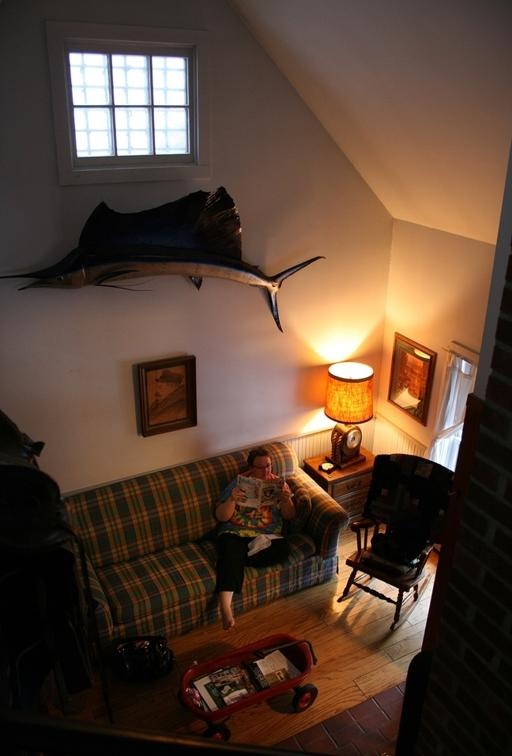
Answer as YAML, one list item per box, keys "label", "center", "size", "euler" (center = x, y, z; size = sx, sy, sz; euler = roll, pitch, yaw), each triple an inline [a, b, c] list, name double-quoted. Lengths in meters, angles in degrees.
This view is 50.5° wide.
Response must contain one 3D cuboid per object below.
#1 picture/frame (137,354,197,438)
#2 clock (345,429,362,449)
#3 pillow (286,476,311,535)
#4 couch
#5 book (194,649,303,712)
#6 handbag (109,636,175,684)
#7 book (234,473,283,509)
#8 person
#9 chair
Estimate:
- label: "picture/frame"
  center: [-0.686, 0.111, 4.082]
  size: [0.510, 0.675, 0.112]
  euler: [-12, 23, -34]
- label: "clock"
  center: [0.849, 0.537, 4.790]
  size: [0.076, 0.226, 0.163]
  euler: [16, 17, 41]
- label: "pillow"
  center: [0.344, 1.044, 4.341]
  size: [0.113, 0.309, 0.304]
  euler: [7, -15, -6]
- label: "couch"
  center: [-0.418, 1.250, 4.151]
  size: [2.023, 0.931, 0.851]
  euler: [-10, 19, -25]
- label: "book"
  center: [-0.078, 1.828, 3.285]
  size: [0.503, 0.100, 0.242]
  euler: [-11, 25, -23]
- label: "handbag"
  center: [-0.725, 1.808, 3.485]
  size: [0.286, 0.109, 0.291]
  euler: [2, -7, -14]
- label: "book"
  center: [0.012, 0.840, 4.006]
  size: [0.272, 0.242, 0.020]
  euler: [-1, 14, -15]
- label: "person"
  center: [-0.027, 1.067, 3.954]
  size: [0.605, 0.849, 1.433]
  euler: [4, 9, 7]
- label: "chair"
  center: [1.030, 1.184, 4.058]
  size: [0.699, 1.189, 0.683]
  euler: [7, 15, 21]
